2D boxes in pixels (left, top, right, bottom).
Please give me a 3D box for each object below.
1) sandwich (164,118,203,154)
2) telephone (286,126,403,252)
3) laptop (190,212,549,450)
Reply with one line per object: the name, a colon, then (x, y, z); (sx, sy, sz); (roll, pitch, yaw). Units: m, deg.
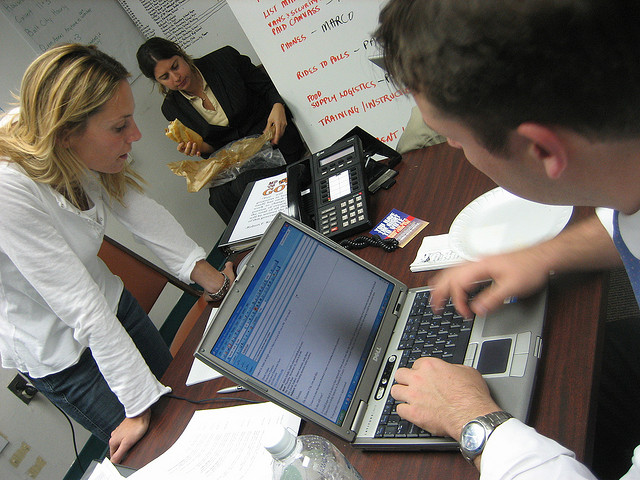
sandwich: (-0.903, -0.683, 3.122); (0.094, 0.262, 0.156); (16, 73, 54)
telephone: (0.034, -0.176, 1.624); (0.406, 0.139, 0.437); (-26, 51, 14)
laptop: (0.121, 0.149, 1.011); (0.577, 0.374, 0.443); (-19, 28, 41)
